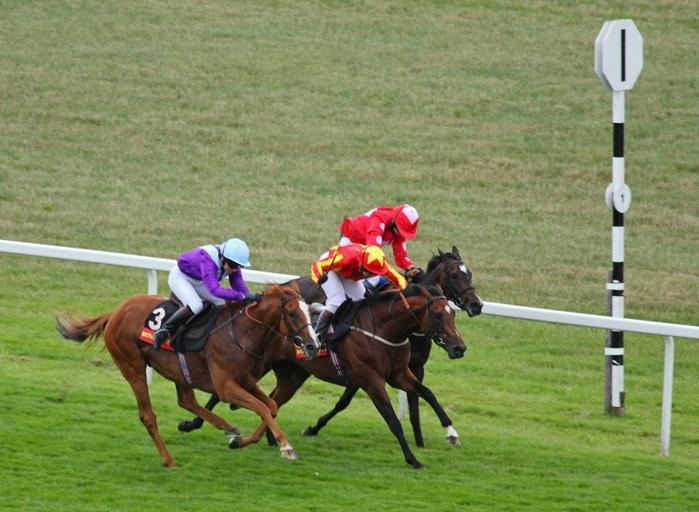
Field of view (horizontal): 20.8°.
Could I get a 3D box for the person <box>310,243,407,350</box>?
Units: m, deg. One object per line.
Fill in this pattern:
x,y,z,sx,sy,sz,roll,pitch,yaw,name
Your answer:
0.131,0.399,22.285,1.272,1.158,1.084,10,23,16,person

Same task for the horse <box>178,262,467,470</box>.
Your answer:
-0.119,1.353,22.507,3.208,2.014,0.746,1,4,36,horse

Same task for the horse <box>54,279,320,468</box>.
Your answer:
-1.920,1.415,22.190,3.670,2.241,0.967,2,6,34,horse

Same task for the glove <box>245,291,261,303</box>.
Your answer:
-1.084,0.474,21.563,0.128,0.053,0.096,21,53,15,glove

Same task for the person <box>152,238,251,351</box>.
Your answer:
-1.578,0.429,21.878,0.994,1.460,0.610,15,20,2,person

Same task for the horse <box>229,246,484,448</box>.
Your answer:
-0.047,1.295,23.389,3.296,2.363,0.791,6,18,31,horse

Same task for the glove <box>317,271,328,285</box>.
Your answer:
-0.323,0.262,22.115,0.039,0.128,0.098,43,0,-5,glove

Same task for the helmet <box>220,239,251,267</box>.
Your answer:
-1.272,-0.006,21.659,0.355,0.228,0.257,25,26,11,helmet
